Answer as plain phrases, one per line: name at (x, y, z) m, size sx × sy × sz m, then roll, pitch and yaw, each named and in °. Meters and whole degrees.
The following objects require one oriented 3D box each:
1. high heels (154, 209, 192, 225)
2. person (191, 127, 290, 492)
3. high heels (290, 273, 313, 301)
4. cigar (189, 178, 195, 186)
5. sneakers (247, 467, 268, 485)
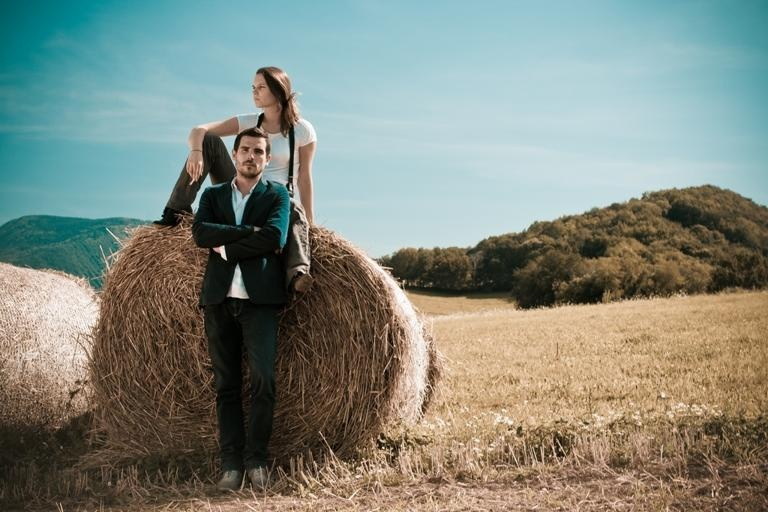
high heels at (-2.093, -0.395, 6.977) m, size 0.369 × 0.197 × 0.161 m, roll -3°, pitch 10°, yaw -9°
person at (-1.258, 0.441, 6.364) m, size 0.851 × 3.144 × 0.951 m, roll -2°, pitch 10°, yaw -5°
high heels at (-0.761, 0.279, 6.436) m, size 0.190 × 0.245 × 0.206 m, roll 3°, pitch -26°, yaw 15°
cigar at (-1.868, -0.725, 6.851) m, size 0.055 × 0.028 × 0.076 m, roll 21°, pitch 2°, yaw -35°
sneakers at (-1.111, 1.958, 6.233) m, size 0.178 × 0.150 × 0.199 m, roll -4°, pitch 11°, yaw -14°
